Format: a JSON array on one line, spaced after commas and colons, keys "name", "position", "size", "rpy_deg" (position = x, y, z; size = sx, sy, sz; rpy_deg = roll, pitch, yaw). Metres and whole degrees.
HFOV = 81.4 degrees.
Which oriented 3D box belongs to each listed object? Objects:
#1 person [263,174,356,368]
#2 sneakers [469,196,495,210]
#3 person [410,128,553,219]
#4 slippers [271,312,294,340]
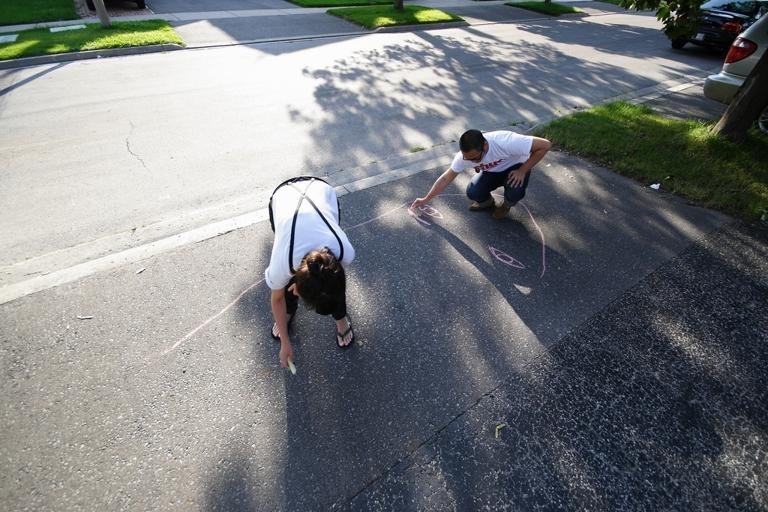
[{"name": "person", "position": [-0.799, 0.261, 4.827], "size": [0.950, 1.636, 1.387], "rpy_deg": [-7, 44, -8]}, {"name": "sneakers", "position": [1.488, -0.749, 6.737], "size": [0.421, 0.288, 0.163], "rpy_deg": [-2, 65, 6]}, {"name": "person", "position": [1.324, -1.199, 6.487], "size": [2.021, 1.323, 1.090], "rpy_deg": [-12, 29, -2]}, {"name": "slippers", "position": [-1.185, 0.806, 5.218], "size": [0.166, 0.162, 0.421], "rpy_deg": [9, 78, -4]}]
